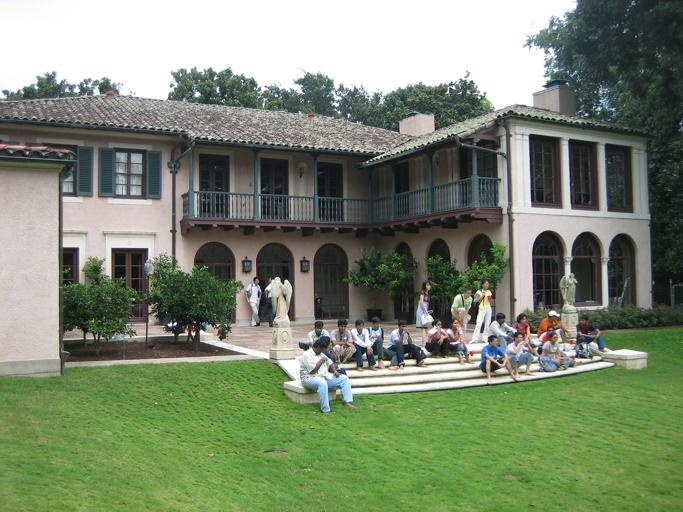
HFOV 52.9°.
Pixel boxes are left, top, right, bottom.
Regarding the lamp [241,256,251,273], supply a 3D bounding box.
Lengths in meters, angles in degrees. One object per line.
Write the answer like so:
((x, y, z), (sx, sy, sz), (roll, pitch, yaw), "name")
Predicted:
((-3.575, 0.358, 25.728), (0.388, 0.618, 0.296), (-1, 12, -19), "lamp")

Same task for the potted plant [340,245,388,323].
((1.136, 0.737, 26.620), (2.472, 3.443, 2.442), (0, -7, 4), "potted plant")

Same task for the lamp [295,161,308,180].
((-1.537, -3.354, 27.081), (0.399, 0.658, 0.228), (0, 12, -15), "lamp")

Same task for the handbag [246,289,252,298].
((-3.432, 1.350, 25.191), (0.104, 0.397, 0.341), (-4, 14, -32), "handbag")

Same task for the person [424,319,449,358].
((2.473, 2.140, 17.827), (0.602, 0.927, 0.641), (1, 0, 5), "person")

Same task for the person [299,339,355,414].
((-0.308, 2.422, 14.377), (0.811, 1.373, 1.018), (-5, 14, -36), "person")

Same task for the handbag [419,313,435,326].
((2.383, 1.769, 18.832), (0.482, 0.305, 0.388), (0, -4, 28), "handbag")

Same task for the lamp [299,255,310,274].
((-1.448, 0.362, 26.789), (0.504, 0.883, 0.502), (0, -3, -4), "lamp")

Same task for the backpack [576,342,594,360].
((6.666, 2.641, 18.846), (0.358, 0.500, 0.449), (6, -6, -33), "backpack")

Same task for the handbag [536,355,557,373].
((5.293, 2.812, 17.696), (0.310, 0.221, 0.420), (4, 4, -36), "handbag")

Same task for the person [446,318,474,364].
((3.075, 2.197, 17.851), (0.675, 0.852, 1.353), (5, 12, 9), "person")

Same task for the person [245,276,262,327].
((-3.285, 1.679, 25.383), (0.549, 1.739, 0.761), (2, 12, -7), "person")
